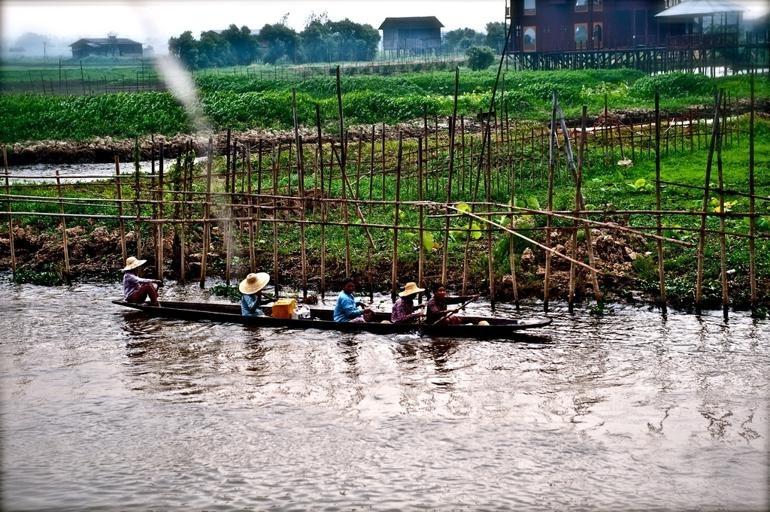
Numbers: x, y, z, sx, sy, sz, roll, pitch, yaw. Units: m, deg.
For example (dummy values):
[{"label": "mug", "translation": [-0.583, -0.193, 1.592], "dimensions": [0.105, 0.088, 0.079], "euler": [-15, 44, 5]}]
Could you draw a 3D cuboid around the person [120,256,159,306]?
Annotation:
[{"label": "person", "translation": [-7.295, 0.737, 33.959], "dimensions": [0.719, 1.294, 1.394], "euler": [-4, 9, -40]}]

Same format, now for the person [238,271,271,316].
[{"label": "person", "translation": [-3.789, 1.152, 33.444], "dimensions": [0.779, 1.171, 0.770], "euler": [-9, 34, -12]}]

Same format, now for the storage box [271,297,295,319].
[{"label": "storage box", "translation": [-2.921, 1.529, 33.039], "dimensions": [0.502, 0.562, 0.894], "euler": [0, 4, 16]}]

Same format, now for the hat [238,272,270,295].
[{"label": "hat", "translation": [-3.772, 0.809, 33.023], "dimensions": [0.767, 0.591, 0.452], "euler": [1, 7, -11]}]

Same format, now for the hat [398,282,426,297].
[{"label": "hat", "translation": [0.807, 0.961, 32.455], "dimensions": [0.494, 0.184, 0.510], "euler": [-14, -2, 40]}]
